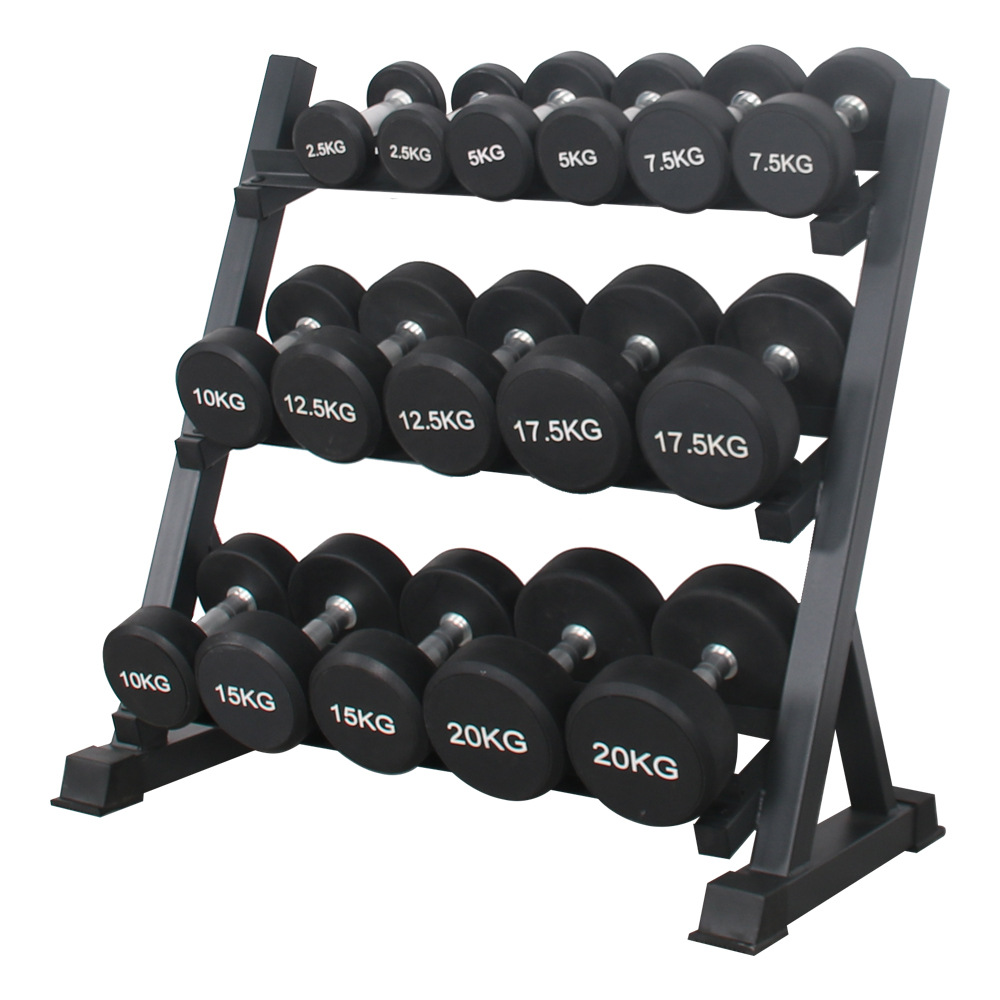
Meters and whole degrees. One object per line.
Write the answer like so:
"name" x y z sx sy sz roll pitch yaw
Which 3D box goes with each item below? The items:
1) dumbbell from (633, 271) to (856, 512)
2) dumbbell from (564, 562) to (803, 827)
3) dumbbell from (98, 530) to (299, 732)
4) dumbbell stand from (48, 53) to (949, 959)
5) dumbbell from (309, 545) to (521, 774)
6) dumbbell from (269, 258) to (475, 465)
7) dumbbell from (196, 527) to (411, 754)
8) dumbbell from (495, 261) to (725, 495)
"dumbbell" 0.305 -0.122 1.210 0.144 0.133 0.304 22 37 21
"dumbbell" 0.239 0.243 1.291 0.196 0.283 0.350 6 6 27
"dumbbell" -0.439 0.209 1.491 0.162 0.155 0.355 20 34 14
"dumbbell stand" -0.052 -0.044 1.454 1.147 0.974 0.550 8 15 29
"dumbbell" -0.110 0.234 1.512 0.187 0.165 0.388 0 17 21
"dumbbell" -0.170 -0.183 1.417 0.160 0.154 0.353 17 37 22
"dumbbell" -0.286 0.211 1.470 0.227 0.205 0.340 26 37 15
"dumbbell" 0.201 -0.155 1.366 0.196 0.181 0.427 6 23 37
